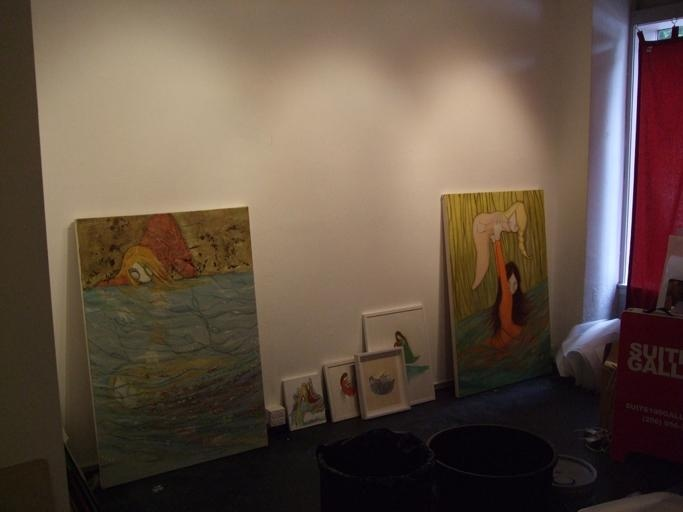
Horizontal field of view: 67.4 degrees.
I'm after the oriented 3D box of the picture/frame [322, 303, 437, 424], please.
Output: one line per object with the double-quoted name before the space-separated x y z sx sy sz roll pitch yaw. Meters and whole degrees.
"picture/frame" 0.252 0.854 3.964 0.732 0.710 0.074 -7 0 -28
